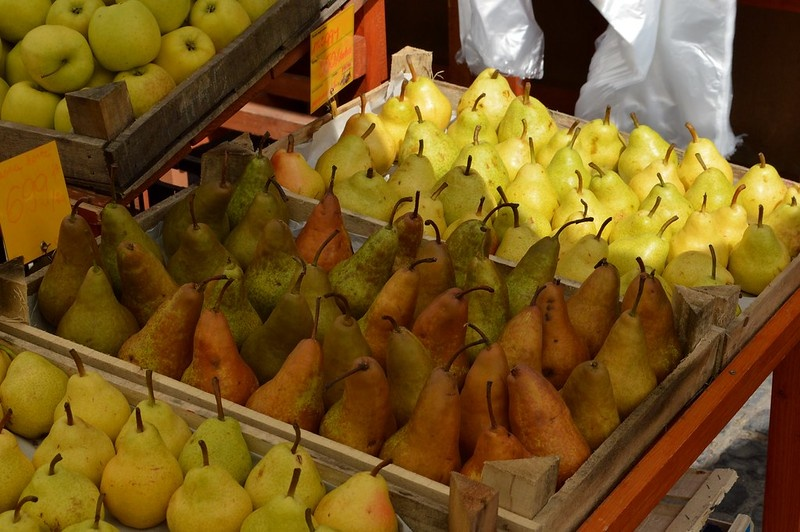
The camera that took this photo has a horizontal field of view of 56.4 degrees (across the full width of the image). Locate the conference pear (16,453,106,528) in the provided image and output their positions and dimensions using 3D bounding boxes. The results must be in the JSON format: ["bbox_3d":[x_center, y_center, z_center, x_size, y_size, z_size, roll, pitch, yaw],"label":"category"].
[{"bbox_3d":[-0.653,0.444,1.491,0.143,0.173,0.150,1,1,4],"label":"conference pear"}]

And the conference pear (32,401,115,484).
[{"bbox_3d":[-0.696,0.385,1.582,0.154,0.217,0.157,-5,22,-34],"label":"conference pear"}]
